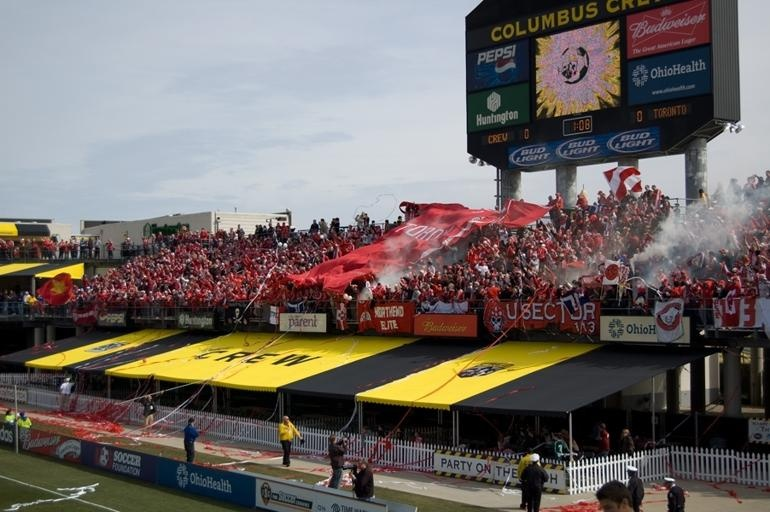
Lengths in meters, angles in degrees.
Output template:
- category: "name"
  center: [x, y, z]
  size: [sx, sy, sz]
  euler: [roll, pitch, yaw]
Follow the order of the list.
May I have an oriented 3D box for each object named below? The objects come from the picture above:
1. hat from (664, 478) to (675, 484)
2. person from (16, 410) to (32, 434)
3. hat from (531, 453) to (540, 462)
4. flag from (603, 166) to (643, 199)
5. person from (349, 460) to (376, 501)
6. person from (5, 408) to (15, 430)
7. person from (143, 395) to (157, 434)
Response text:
- category: "hat"
  center: [12.143, 9.672, 57.922]
  size: [0.430, 0.150, 0.361]
  euler: [2, -6, -22]
- category: "person"
  center: [-18.805, 8.752, 71.223]
  size: [0.694, 0.936, 1.542]
  euler: [0, -3, -12]
- category: "hat"
  center: [6.712, 9.122, 60.869]
  size: [0.348, 0.372, 0.445]
  euler: [9, 7, 17]
- category: "flag"
  center: [12.919, -3.970, 73.407]
  size: [1.867, 1.668, 0.576]
  euler: [-17, 5, 34]
- category: "person"
  center: [-0.937, 9.850, 59.503]
  size: [0.958, 1.593, 1.320]
  euler: [0, -3, -4]
- category: "person"
  center: [-19.865, 8.769, 72.328]
  size: [0.620, 0.950, 3.043]
  euler: [0, -4, -16]
- category: "person"
  center: [-12.977, 8.761, 75.402]
  size: [0.630, 1.911, 1.005]
  euler: [-1, -3, 2]
